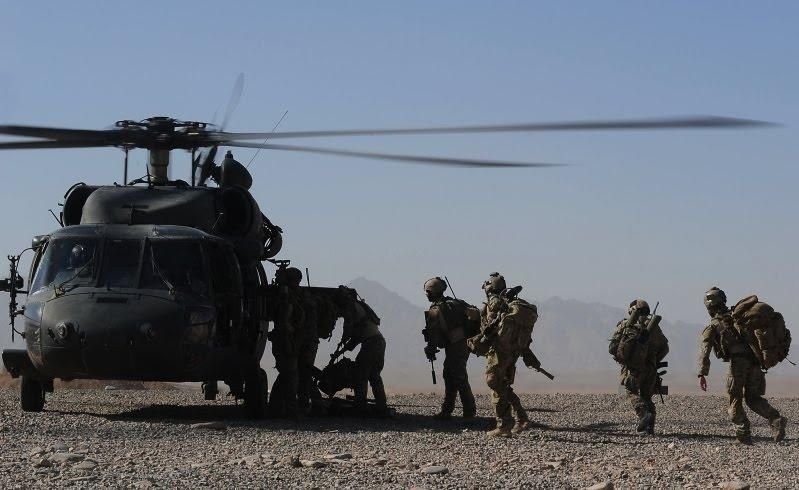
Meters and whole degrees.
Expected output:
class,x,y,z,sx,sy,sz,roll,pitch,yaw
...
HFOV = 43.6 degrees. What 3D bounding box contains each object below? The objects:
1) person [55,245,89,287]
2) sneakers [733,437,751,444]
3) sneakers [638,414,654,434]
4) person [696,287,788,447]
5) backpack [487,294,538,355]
class,x,y,z,sx,sy,sz,roll,pitch,yaw
person,-4.900,0.290,14.995,0.450,0.636,0.274,3,-6,-15
sneakers,5.085,2.870,14.715,0.198,0.095,0.234,-1,-6,18
sneakers,3.837,2.775,15.574,0.256,0.305,0.267,-1,-6,15
person,5.176,1.773,14.936,1.147,2.290,1.516,-5,-8,41
backpack,1.668,1.177,14.652,0.697,0.833,0.437,2,-6,-11
